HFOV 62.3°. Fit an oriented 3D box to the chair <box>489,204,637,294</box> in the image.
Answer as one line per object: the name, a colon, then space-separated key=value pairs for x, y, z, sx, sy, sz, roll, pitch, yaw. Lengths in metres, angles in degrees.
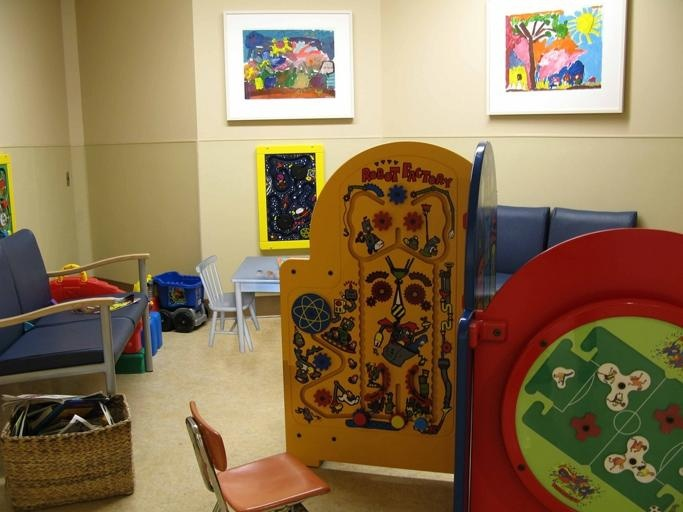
chair: x=1.876 y=0.171 z=4.995 sx=1.234 sy=1.017 sz=0.680 roll=1 pitch=0 yaw=21

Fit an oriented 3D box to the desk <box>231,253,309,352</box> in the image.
desk: x=-0.539 y=0.434 z=5.012 sx=0.771 sy=0.833 sz=0.779 roll=-1 pitch=11 yaw=-1

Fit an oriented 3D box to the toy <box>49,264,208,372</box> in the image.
toy: x=-1.766 y=0.490 z=4.745 sx=1.182 sy=0.752 sz=0.728 roll=1 pitch=5 yaw=2
